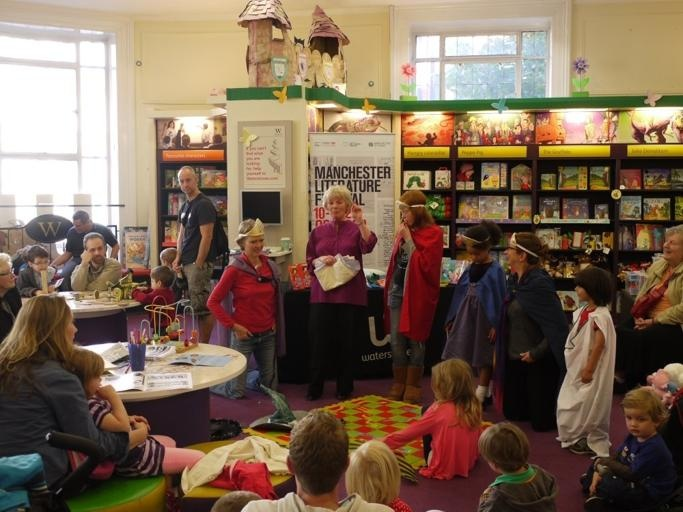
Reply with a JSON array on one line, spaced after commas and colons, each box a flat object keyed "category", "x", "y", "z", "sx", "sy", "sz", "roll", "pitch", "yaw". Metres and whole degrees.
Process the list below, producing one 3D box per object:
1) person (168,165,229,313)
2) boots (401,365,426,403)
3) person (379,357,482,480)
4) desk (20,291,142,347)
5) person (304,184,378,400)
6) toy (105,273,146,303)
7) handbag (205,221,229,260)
[{"category": "person", "x": -1.703, "y": 0.045, "z": 7.399, "sx": 0.635, "sy": 2.137, "sz": 0.617, "roll": -1, "pitch": -4, "yaw": 3}, {"category": "boots", "x": 0.667, "y": 1.238, "z": 5.857, "sx": 0.173, "sy": 0.412, "sz": 0.411, "roll": 1, "pitch": -9, "yaw": 12}, {"category": "person", "x": 0.759, "y": 1.200, "z": 4.653, "sx": 0.959, "sy": 0.840, "sz": 0.584, "roll": 2, "pitch": 1, "yaw": -20}, {"category": "desk", "x": -2.146, "y": 0.503, "z": 5.077, "sx": 0.668, "sy": 0.435, "sz": 0.692, "roll": 0, "pitch": 4, "yaw": -6}, {"category": "person", "x": -0.035, "y": 0.331, "z": 6.116, "sx": 0.690, "sy": 2.036, "sz": 0.586, "roll": -2, "pitch": 7, "yaw": -10}, {"category": "toy", "x": -2.202, "y": 0.331, "z": 6.302, "sx": 0.388, "sy": 0.317, "sz": 0.319, "roll": 2, "pitch": 1, "yaw": -12}, {"category": "handbag", "x": -1.501, "y": -0.184, "z": 7.355, "sx": 0.253, "sy": 0.502, "sz": 0.466, "roll": 3, "pitch": 4, "yaw": 6}]
